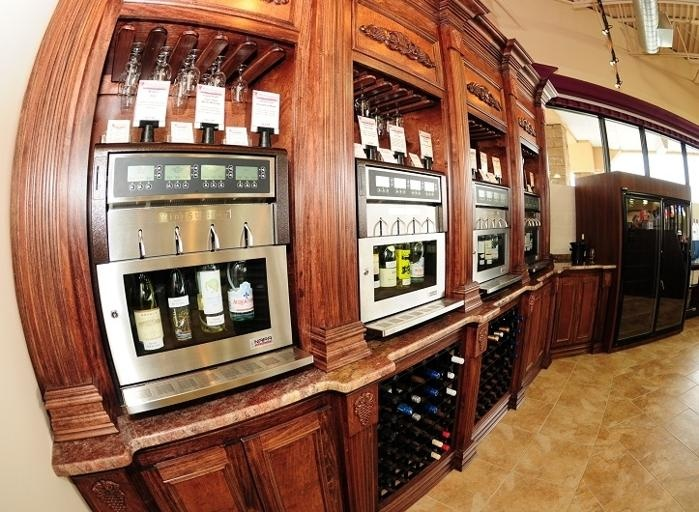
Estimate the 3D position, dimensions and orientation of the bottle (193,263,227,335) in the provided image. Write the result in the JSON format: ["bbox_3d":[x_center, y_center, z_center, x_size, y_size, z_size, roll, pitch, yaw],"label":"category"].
[{"bbox_3d":[-0.658,0.198,2.054,0.124,0.322,0.086,-5,9,-18],"label":"bottle"}]

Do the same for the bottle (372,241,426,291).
[{"bbox_3d":[0.290,0.058,2.620,0.296,0.401,0.133,-1,3,-34],"label":"bottle"}]

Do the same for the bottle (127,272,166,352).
[{"bbox_3d":[-0.908,0.247,1.940,0.120,0.327,0.153,-6,10,-24],"label":"bottle"}]

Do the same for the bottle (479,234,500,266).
[{"bbox_3d":[1.070,-0.055,3.310,0.091,0.224,0.244,1,3,42],"label":"bottle"}]

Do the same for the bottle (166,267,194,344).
[{"bbox_3d":[-0.792,0.224,2.009,0.093,0.318,0.121,-5,9,-21],"label":"bottle"}]
